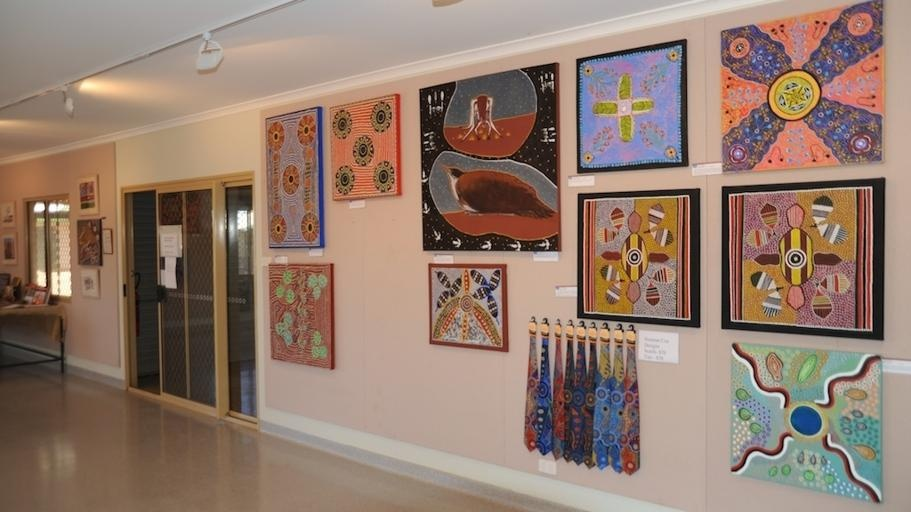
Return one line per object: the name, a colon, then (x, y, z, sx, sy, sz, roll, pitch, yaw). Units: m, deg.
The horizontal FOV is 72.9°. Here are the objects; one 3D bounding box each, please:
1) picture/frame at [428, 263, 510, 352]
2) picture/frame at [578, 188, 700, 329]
picture/frame: (0.176, 0.505, 6.175, 0.939, 0.892, 0.035, 2, 3, 26)
picture/frame: (1.710, 0.002, 5.600, 1.379, 1.411, 0.052, 0, 0, 25)
